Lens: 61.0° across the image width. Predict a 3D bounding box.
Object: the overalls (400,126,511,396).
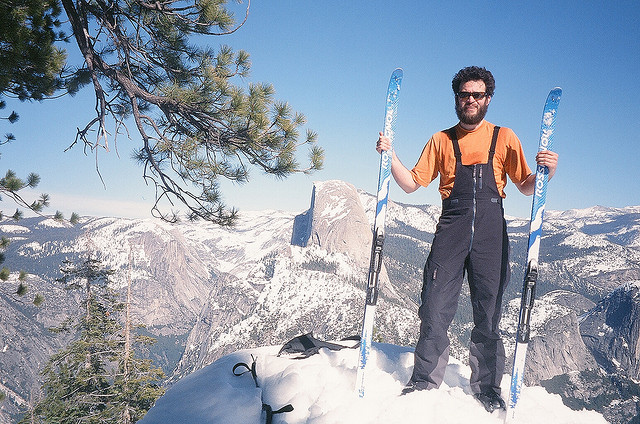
[{"bbox_3d":[6.846,2.450,25.575,3.951,12.548,0.294,2,0,-1],"label":"overalls"}]
